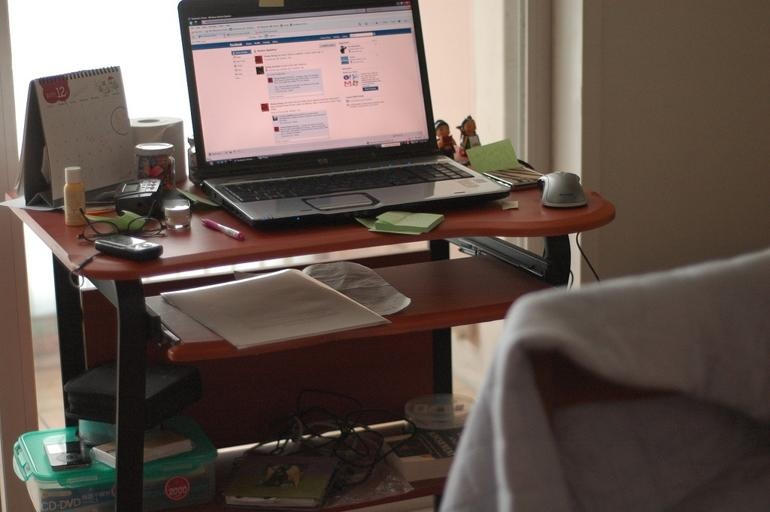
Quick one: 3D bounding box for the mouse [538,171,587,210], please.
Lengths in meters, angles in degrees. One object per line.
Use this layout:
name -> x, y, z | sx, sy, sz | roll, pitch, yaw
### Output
mouse -> 0.349, -0.152, 1.291 | 0.097, 0.050, 0.144 | -1, 24, 3

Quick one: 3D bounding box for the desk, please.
desk -> -0.229, 0.317, 1.576 | 1.084, 0.959, 0.815 | -9, 26, -22

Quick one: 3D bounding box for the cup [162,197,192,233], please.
cup -> -0.383, -0.080, 1.213 | 0.065, 0.059, 0.057 | -2, 20, -7

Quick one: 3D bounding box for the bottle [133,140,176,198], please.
bottle -> -0.491, -0.190, 1.369 | 0.111, 0.119, 0.109 | -1, 15, -4

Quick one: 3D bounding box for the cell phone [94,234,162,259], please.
cell phone -> -0.421, -0.012, 1.049 | 0.119, 0.026, 0.051 | 12, 17, 32
